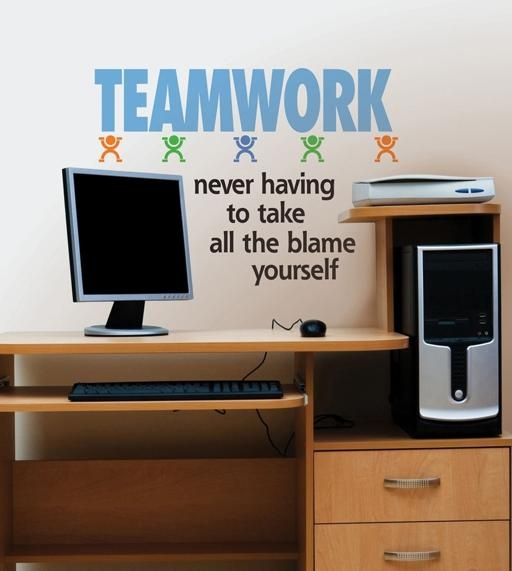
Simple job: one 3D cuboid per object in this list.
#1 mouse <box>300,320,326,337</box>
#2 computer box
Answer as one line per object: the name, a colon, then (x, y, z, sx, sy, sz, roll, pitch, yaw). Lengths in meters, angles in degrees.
mouse: (0.176, 0.132, 1.848, 0.058, 0.033, 0.058, 4, 4, 42)
computer box: (0.555, 0.168, 1.853, 0.345, 0.584, 0.227, 0, 5, 25)
